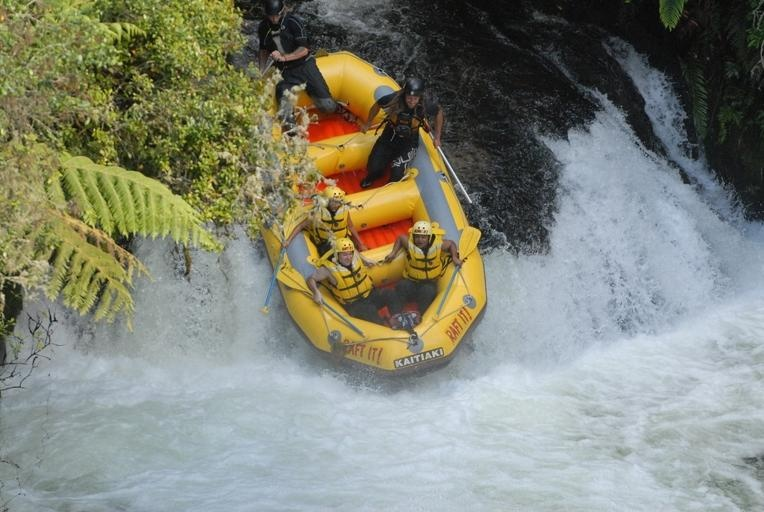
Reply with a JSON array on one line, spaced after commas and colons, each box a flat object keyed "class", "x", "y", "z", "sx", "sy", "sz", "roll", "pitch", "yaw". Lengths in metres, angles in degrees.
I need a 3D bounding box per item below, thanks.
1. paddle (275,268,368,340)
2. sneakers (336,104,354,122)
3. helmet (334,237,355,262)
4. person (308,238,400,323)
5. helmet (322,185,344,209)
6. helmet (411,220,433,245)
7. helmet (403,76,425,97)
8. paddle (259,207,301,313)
[{"class": "paddle", "x": -0.833, "y": 0.523, "z": 11.685, "sx": 1.752, "sy": 0.652, "sz": 0.195, "roll": 40, "pitch": 58, "yaw": 9}, {"class": "sneakers", "x": -0.650, "y": -2.489, "z": 13.415, "sx": 0.357, "sy": 0.204, "sz": 0.085, "roll": 48, "pitch": 37, "yaw": -5}, {"class": "helmet", "x": -0.554, "y": -0.098, "z": 11.333, "sx": 0.252, "sy": 0.325, "sz": 0.316, "roll": -4, "pitch": 108, "yaw": -16}, {"class": "person", "x": -0.477, "y": 0.376, "z": 11.596, "sx": 1.183, "sy": 0.456, "sz": 1.306, "roll": -37, "pitch": 105, "yaw": -30}, {"class": "helmet", "x": -0.724, "y": -0.902, "z": 11.522, "sx": 0.273, "sy": 0.345, "sz": 0.369, "roll": -3, "pitch": 95, "yaw": -14}, {"class": "helmet", "x": 0.598, "y": -0.338, "z": 11.544, "sx": 0.339, "sy": 0.214, "sz": 0.308, "roll": 0, "pitch": 65, "yaw": -3}, {"class": "helmet", "x": 0.507, "y": -2.670, "z": 12.039, "sx": 0.266, "sy": 0.251, "sz": 0.339, "roll": 9, "pitch": 79, "yaw": -5}, {"class": "paddle", "x": -1.623, "y": 0.099, "z": 11.946, "sx": 0.535, "sy": 0.238, "sz": 1.727, "roll": 23, "pitch": 72, "yaw": -31}]
